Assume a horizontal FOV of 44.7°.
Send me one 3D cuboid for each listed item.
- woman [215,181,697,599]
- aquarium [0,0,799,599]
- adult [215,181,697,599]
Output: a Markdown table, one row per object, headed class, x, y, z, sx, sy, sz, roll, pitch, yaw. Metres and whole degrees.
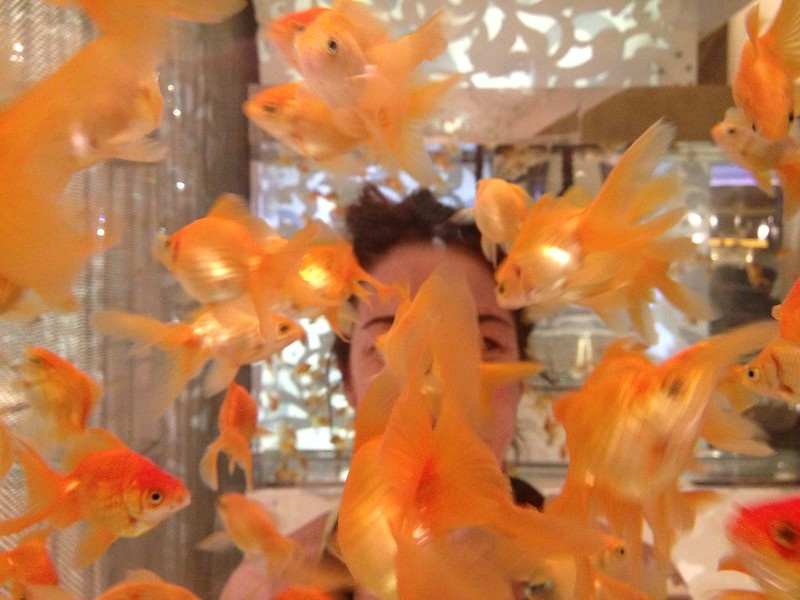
| class | x | y | z | sx | sy | sz | roll | pitch | yaw |
| --- | --- | --- | --- | --- | --- | --- | --- | --- | --- |
| woman | 0.041 | -0.034 | 0.893 | 0.348 | 0.180 | 0.622 | -12 | 68 | 34 |
| aquarium | -0.003 | -0.005 | 0.725 | 0.535 | 0.128 | 0.489 | 2 | 90 | -23 |
| adult | 0.038 | -0.014 | 0.906 | 0.348 | 0.180 | 0.622 | -12 | 68 | 34 |
